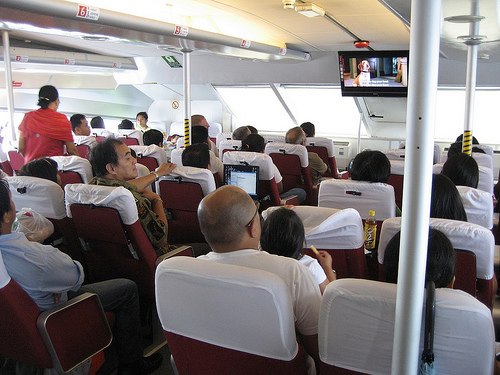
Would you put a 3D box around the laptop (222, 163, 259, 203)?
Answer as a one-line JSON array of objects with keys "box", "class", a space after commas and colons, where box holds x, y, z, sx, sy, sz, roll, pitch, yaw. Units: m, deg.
[{"box": [-0.086, -0.113, 4.338, 0.468, 0.467, 0.382, 6, 10, 25], "class": "laptop"}]
